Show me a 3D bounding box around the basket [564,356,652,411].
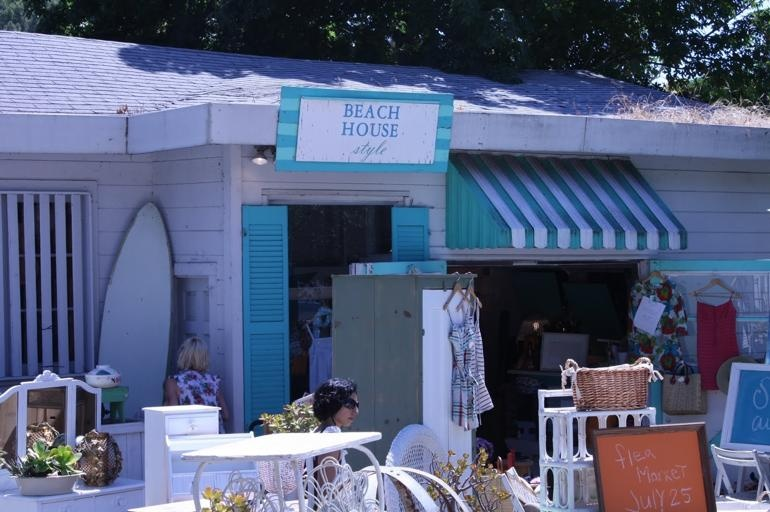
[{"bbox_3d":[2.836,1.629,18.774,0.852,0.501,0.676,-2,-2,-4],"label":"basket"}]

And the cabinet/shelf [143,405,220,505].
[{"bbox_3d":[-2.580,2.331,18.408,0.751,1.334,0.829,1,4,28],"label":"cabinet/shelf"}]

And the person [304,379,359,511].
[{"bbox_3d":[-0.613,2.548,17.792,0.522,2.035,0.654,-1,-9,-10],"label":"person"}]

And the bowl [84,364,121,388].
[{"bbox_3d":[-3.807,1.641,19.971,0.306,0.234,0.322,0,-1,0],"label":"bowl"}]

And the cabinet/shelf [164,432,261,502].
[{"bbox_3d":[-2.260,2.671,18.288,0.842,1.029,1.402,9,2,-19],"label":"cabinet/shelf"}]

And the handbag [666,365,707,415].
[{"bbox_3d":[4.232,1.805,21.078,0.559,0.846,0.347,-1,21,12],"label":"handbag"}]

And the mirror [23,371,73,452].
[{"bbox_3d":[-4.273,1.876,18.685,0.486,1.093,0.485,-3,3,-33],"label":"mirror"}]

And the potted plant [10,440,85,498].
[{"bbox_3d":[-4.203,2.627,18.272,0.855,0.615,0.250,-3,0,-13],"label":"potted plant"}]

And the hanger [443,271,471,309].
[{"bbox_3d":[0.951,0.469,19.445,0.380,0.558,0.039,5,6,-33],"label":"hanger"}]
